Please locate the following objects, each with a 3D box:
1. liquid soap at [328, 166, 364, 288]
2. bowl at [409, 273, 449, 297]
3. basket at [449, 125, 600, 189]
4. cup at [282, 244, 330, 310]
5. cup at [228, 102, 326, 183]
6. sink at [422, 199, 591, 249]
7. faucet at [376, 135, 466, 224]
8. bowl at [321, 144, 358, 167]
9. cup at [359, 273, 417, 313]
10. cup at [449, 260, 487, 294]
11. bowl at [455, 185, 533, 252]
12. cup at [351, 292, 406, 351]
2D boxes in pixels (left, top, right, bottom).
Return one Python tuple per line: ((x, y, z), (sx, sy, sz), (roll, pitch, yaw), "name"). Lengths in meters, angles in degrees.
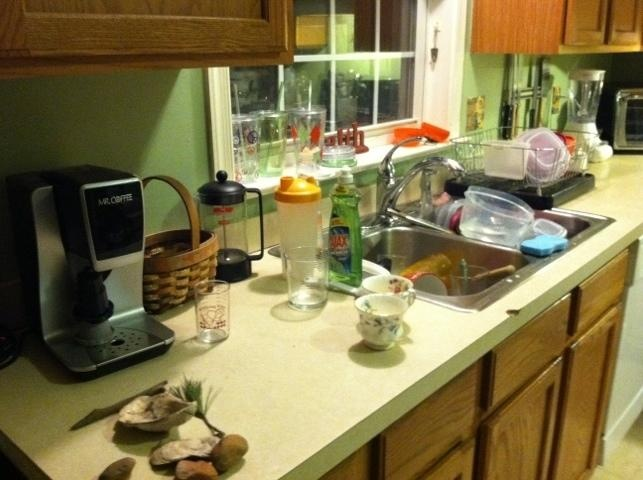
((0.065, -0.034, 1.380), (0.097, 0.303, 0.140), (-3, 20, 4), "liquid soap")
((0.344, 0.143, 1.596), (0.081, 0.100, 0.074), (1, 14, 0), "bowl")
((0.826, -0.372, 2.126), (0.531, 0.222, 0.522), (6, 21, 26), "basket")
((-0.035, 0.097, 1.305), (0.110, 0.128, 0.135), (-4, 19, -1), "cup")
((-0.155, -0.333, 1.697), (0.107, 0.168, 0.327), (13, 22, 34), "cup")
((0.625, -0.085, 1.817), (0.300, 0.109, 0.237), (19, 18, 28), "sink")
((0.394, -0.204, 1.778), (0.327, 0.330, 0.269), (10, 24, 34), "faucet")
((0.068, -0.318, 1.878), (0.125, 0.071, 0.119), (-3, 19, 1), "bowl")
((0.173, 0.125, 1.231), (0.084, 0.071, 0.099), (-4, 22, -7), "cup")
((0.487, 0.117, 1.693), (0.101, 0.100, 0.130), (-10, 13, -39), "cup")
((0.630, -0.074, 1.801), (0.224, 0.129, 0.210), (17, 5, -1), "bowl")
((0.139, 0.179, 1.144), (0.122, 0.085, 0.118), (0, 18, 0), "cup")
